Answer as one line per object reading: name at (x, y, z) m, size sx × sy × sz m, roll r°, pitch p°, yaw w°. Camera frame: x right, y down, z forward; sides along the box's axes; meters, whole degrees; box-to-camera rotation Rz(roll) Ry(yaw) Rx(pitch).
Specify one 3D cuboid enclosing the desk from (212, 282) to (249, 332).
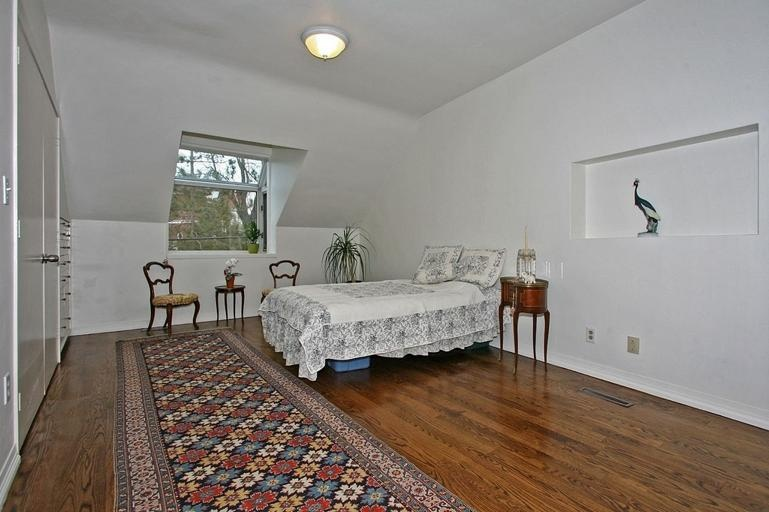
desk at (-2.417, 0.755, 7.013) m, size 0.467 × 0.569 × 0.472 m, roll -1°, pitch 3°, yaw -4°

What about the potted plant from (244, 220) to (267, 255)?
potted plant at (-2.303, -0.347, 7.767) m, size 0.315 × 0.559 × 0.407 m, roll 0°, pitch 3°, yaw -7°

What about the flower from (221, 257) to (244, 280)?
flower at (-2.401, 0.178, 7.027) m, size 0.291 × 0.315 × 0.604 m, roll 0°, pitch 3°, yaw -20°

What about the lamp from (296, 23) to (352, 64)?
lamp at (-0.636, -2.237, 4.791) m, size 0.521 × 0.230 × 0.494 m, roll 0°, pitch 2°, yaw -10°

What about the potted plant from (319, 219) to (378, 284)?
potted plant at (-0.509, -0.051, 8.636) m, size 1.035 × 1.495 × 0.983 m, roll 2°, pitch -2°, yaw -44°

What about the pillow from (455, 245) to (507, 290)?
pillow at (1.197, 0.125, 5.605) m, size 0.149 × 0.500 × 0.548 m, roll 31°, pitch -17°, yaw -34°

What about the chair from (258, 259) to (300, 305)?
chair at (-1.719, 0.543, 7.355) m, size 0.567 × 0.930 × 0.667 m, roll -1°, pitch 4°, yaw -6°

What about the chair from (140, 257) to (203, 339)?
chair at (-3.080, 0.569, 6.431) m, size 0.687 × 0.958 × 0.621 m, roll 8°, pitch 8°, yaw 32°

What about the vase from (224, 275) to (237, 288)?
vase at (-2.349, 0.389, 6.864) m, size 0.183 × 0.214 × 0.190 m, roll -8°, pitch -8°, yaw 44°

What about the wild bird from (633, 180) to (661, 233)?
wild bird at (2.674, -0.526, 4.571) m, size 0.264 × 0.583 × 0.164 m, roll 3°, pitch 4°, yaw 42°

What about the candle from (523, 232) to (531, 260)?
candle at (1.685, -0.161, 5.213) m, size 0.091 × 0.330 × 0.449 m, roll 2°, pitch 3°, yaw 17°

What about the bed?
bed at (-0.025, 0.673, 4.962) m, size 1.656 × 0.518 × 1.382 m, roll 0°, pitch 1°, yaw -27°
